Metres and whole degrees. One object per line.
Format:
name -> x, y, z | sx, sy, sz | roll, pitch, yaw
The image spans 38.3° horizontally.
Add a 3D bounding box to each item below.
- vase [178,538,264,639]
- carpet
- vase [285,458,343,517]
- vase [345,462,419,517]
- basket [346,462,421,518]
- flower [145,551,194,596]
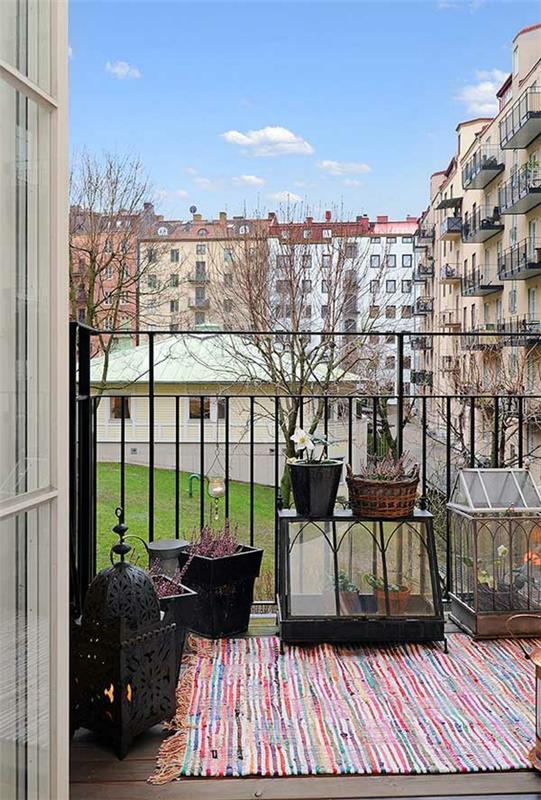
vase -> -0.194, 0.706, 2.911 | 0.309, 0.380, 0.264 | 0, 1, -38
carpet -> 0.254, 0.889, 2.238 | 1.081, 0.081, 0.745 | 1, 7, -1
vase -> 0.159, 0.315, 2.755 | 0.167, 0.187, 0.178 | -1, 2, -8
vase -> 0.405, 0.335, 2.773 | 0.156, 0.155, 0.222 | 0, 2, 7
basket -> 0.421, 0.319, 2.879 | 0.237, 0.228, 0.311 | -1, -3, 3
flower -> -0.321, 0.568, 2.441 | 0.090, 0.050, 0.132 | 21, 34, 30
